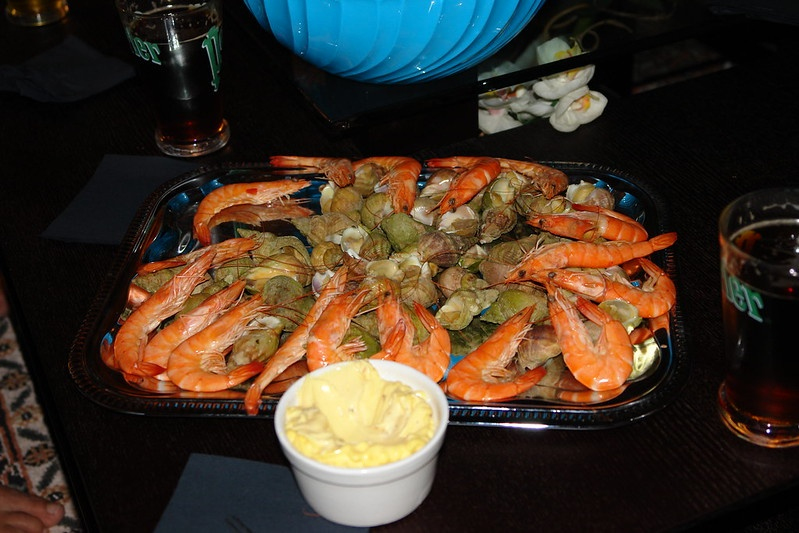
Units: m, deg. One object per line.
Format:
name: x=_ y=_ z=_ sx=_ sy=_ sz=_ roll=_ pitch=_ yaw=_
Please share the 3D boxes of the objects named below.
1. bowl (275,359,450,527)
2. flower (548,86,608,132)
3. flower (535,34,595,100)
bowl: x=-0.043 y=0.244 z=0.838 sx=0.225 sy=0.127 sz=0.215 roll=0 pitch=59 yaw=1
flower: x=0.429 y=-0.386 z=1.415 sx=0.136 sy=0.062 sz=0.097 roll=-26 pitch=55 yaw=10
flower: x=0.387 y=-0.465 z=1.401 sx=0.134 sy=0.163 sz=0.077 roll=-15 pitch=19 yaw=18
